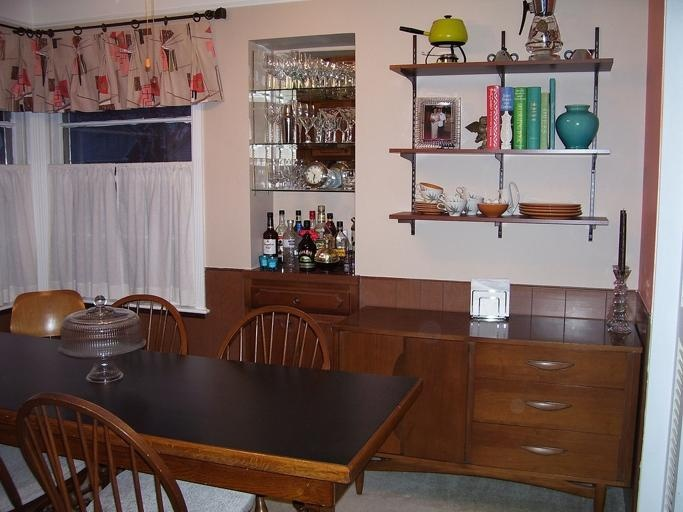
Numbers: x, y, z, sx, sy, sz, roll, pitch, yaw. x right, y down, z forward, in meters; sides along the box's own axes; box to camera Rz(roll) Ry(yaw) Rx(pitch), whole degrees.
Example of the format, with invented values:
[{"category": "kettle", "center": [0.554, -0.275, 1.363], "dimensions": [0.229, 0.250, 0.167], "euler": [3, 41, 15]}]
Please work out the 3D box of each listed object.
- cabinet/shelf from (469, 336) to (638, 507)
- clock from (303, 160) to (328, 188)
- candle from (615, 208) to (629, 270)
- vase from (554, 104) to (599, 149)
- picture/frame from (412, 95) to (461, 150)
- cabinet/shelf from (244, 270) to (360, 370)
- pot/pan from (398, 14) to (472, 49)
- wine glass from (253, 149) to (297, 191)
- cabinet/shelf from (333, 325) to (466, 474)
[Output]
[{"category": "cabinet/shelf", "center": [1.170, 0.863, 3.076], "dimensions": [0.871, 0.862, 0.381], "euler": [2, 3, 15]}, {"category": "clock", "center": [-0.175, -0.562, 3.965], "dimensions": [0.166, 0.180, 0.054], "euler": [-2, 10, -12]}, {"category": "candle", "center": [1.601, -0.096, 3.210], "dimensions": [0.058, 0.360, 0.493], "euler": [5, 11, 26]}, {"category": "vase", "center": [1.367, -0.744, 3.283], "dimensions": [0.234, 0.253, 0.234], "euler": [-6, 10, -18]}, {"category": "picture/frame", "center": [0.603, -0.828, 3.531], "dimensions": [0.360, 0.398, 0.031], "euler": [1, 1, 14]}, {"category": "cabinet/shelf", "center": [-0.217, 0.403, 3.613], "dimensions": [0.618, 0.639, 0.267], "euler": [0, -1, 14]}, {"category": "pot/pan", "center": [0.570, -1.326, 3.411], "dimensions": [0.332, 0.149, 0.200], "euler": [7, 9, 22]}, {"category": "wine glass", "center": [-0.460, -0.624, 4.036], "dimensions": [0.283, 0.261, 0.095], "euler": [1, 2, 31]}, {"category": "cabinet/shelf", "center": [0.342, 0.730, 2.879], "dimensions": [0.790, 0.786, 0.268], "euler": [1, 2, 13]}]
